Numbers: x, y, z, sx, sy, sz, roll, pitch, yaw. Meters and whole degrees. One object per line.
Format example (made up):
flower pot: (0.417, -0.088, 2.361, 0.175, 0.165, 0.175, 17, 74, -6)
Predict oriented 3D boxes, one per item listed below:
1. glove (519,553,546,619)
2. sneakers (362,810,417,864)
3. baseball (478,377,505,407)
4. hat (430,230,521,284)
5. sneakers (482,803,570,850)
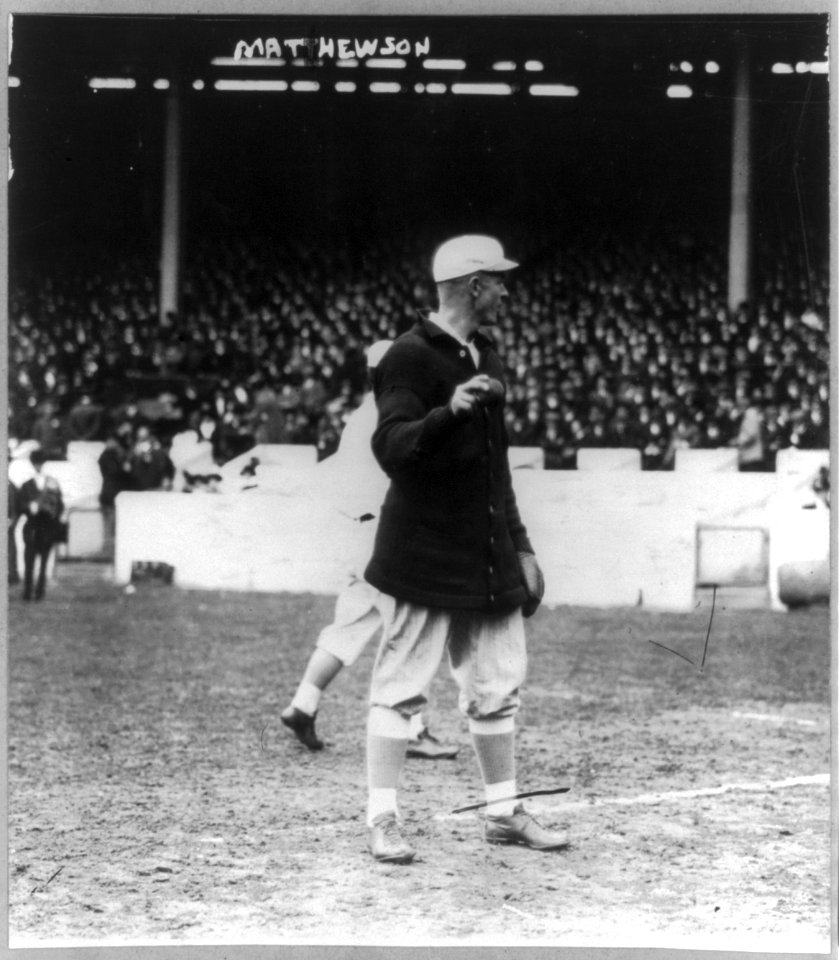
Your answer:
glove: (0.277, 0.269, 6.640, 0.045, 0.133, 0.090, -3, 3, -3)
sneakers: (-0.090, 0.939, 6.617, 0.076, 0.077, 0.158, -2, 10, -25)
baseball: (0.172, -0.231, 6.567, 0.050, 0.071, 0.067, -1, -3, 9)
hat: (0.113, -0.596, 6.607, 0.158, 0.090, 0.119, -10, 2, -7)
sneakers: (0.258, 0.917, 6.692, 0.243, 0.139, 0.096, 4, -3, -1)
